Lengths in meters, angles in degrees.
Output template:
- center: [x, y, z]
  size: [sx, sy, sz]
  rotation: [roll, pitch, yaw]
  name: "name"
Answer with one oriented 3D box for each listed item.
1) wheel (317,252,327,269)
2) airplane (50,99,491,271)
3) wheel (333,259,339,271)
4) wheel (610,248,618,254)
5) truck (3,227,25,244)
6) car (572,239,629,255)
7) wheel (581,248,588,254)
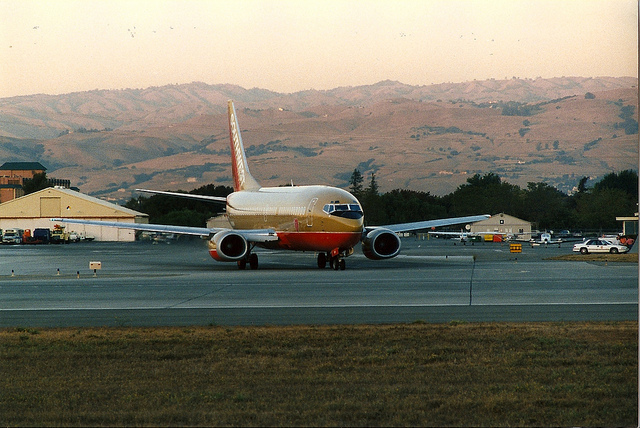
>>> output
- center: [0.149, 3.361, 84.673]
  size: [0.533, 1.132, 1.305]
  rotation: [1, -4, -14]
  name: "wheel"
- center: [-3.991, 0.615, 87.748]
  size: [23.638, 7.795, 19.163]
  rotation: [0, -1, -27]
  name: "airplane"
- center: [1.118, 3.534, 82.586]
  size: [0.382, 0.754, 0.866]
  rotation: [1, -3, -5]
  name: "wheel"
- center: [26.548, 3.327, 106.841]
  size: [0.718, 0.543, 0.223]
  rotation: [0, 0, 2]
  name: "wheel"
- center: [-37.850, 2.743, 146.192]
  size: [2.040, 1.243, 2.919]
  rotation: [0, -4, -12]
  name: "truck"
- center: [25.355, 3.055, 107.513]
  size: [4.359, 0.970, 1.684]
  rotation: [-2, 0, 13]
  name: "car"
- center: [24.044, 3.353, 107.715]
  size: [0.729, 0.556, 0.216]
  rotation: [2, 6, 11]
  name: "wheel"
